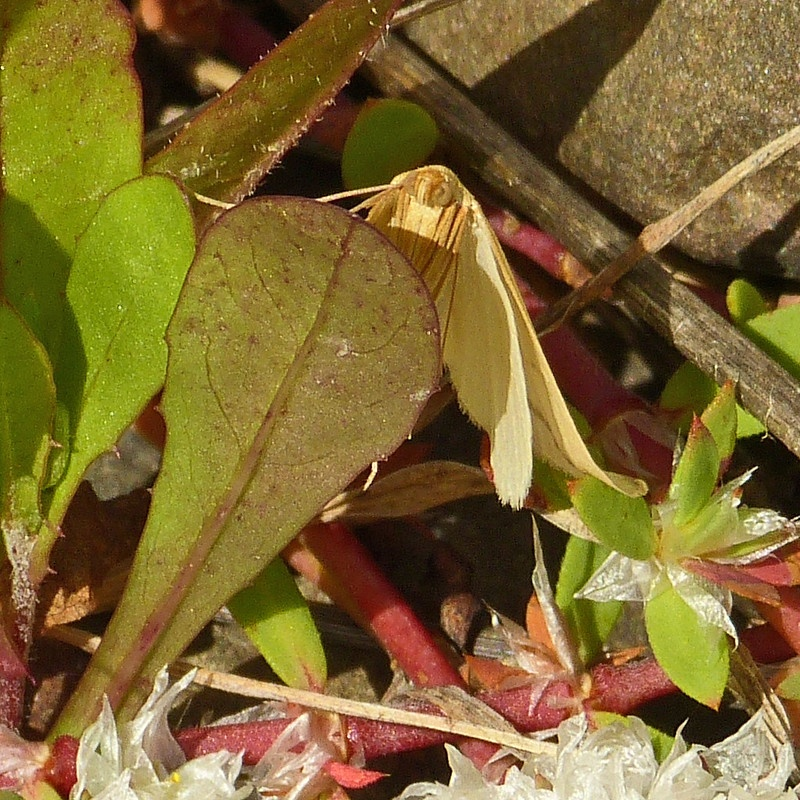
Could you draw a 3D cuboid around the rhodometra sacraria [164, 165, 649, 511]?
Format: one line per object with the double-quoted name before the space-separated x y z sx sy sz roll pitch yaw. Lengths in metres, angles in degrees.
"rhodometra sacraria" -0.006 -0.052 0.856 0.068 0.277 0.251 -27 33 -29
